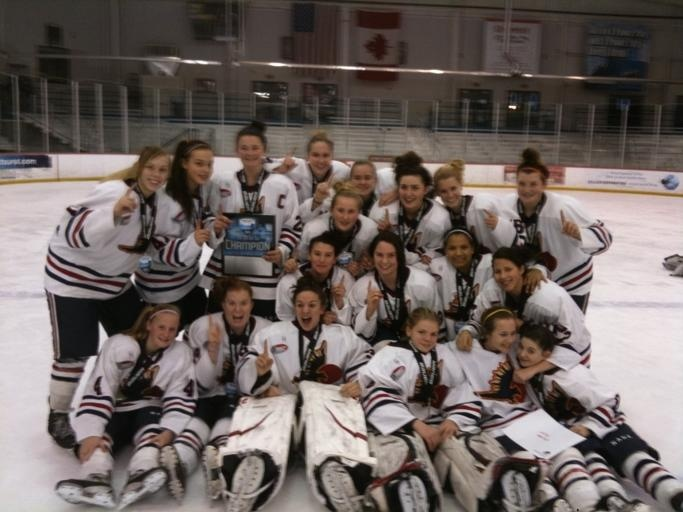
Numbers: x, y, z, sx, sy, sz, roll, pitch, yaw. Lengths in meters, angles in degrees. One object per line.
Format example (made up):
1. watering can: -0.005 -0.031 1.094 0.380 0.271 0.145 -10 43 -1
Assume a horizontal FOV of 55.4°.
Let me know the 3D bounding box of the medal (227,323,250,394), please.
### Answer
1. medal: -0.820 0.835 5.290 0.274 0.453 0.114 0 2 -3

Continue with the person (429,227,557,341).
1. person: 1.248 0.265 5.395 1.001 0.983 0.360 1 8 4

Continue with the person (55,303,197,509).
1. person: -1.446 1.028 4.728 0.644 0.739 1.568 9 23 -12

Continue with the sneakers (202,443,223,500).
1. sneakers: -0.840 1.428 4.361 0.127 0.358 0.169 -3 -10 -4

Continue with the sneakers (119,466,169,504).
1. sneakers: -1.303 1.506 4.259 0.297 0.281 0.190 -7 15 -31

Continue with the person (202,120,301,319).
1. person: -0.873 -0.070 6.222 0.939 2.287 0.803 4 33 -5

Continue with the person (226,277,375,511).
1. person: -0.330 1.011 4.700 1.005 0.784 1.472 6 28 -4

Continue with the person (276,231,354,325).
1. person: -0.205 0.210 5.522 0.707 0.883 0.533 1 19 -7

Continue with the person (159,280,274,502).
1. person: -0.906 0.963 4.829 0.612 0.811 1.353 28 27 -24

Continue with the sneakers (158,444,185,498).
1. sneakers: -1.116 1.424 4.390 0.136 0.361 0.182 -18 -27 0

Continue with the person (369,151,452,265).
1. person: 0.598 -0.367 5.959 0.783 1.026 0.577 13 36 25
